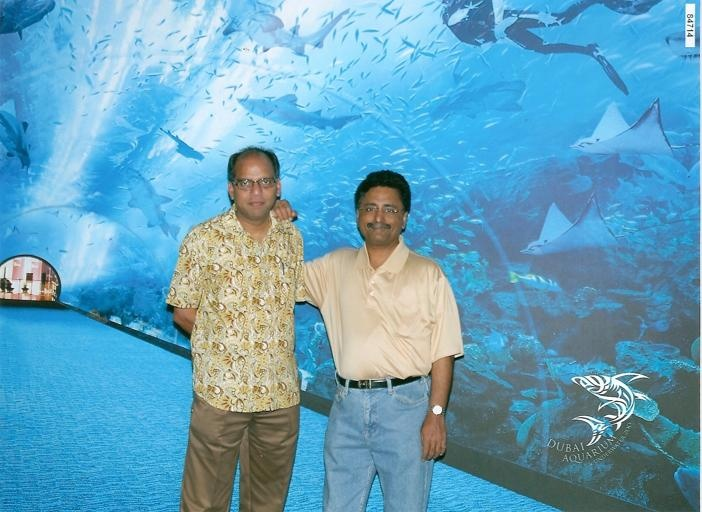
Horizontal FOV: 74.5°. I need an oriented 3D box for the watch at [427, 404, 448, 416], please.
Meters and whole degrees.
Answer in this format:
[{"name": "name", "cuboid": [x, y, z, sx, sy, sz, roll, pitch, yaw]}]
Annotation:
[{"name": "watch", "cuboid": [0.415, 0.734, 2.203, 0.070, 0.040, 0.056, -2, -3, 8]}]
